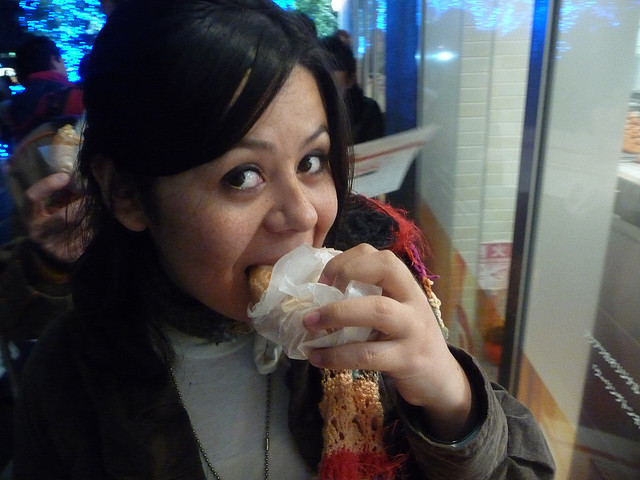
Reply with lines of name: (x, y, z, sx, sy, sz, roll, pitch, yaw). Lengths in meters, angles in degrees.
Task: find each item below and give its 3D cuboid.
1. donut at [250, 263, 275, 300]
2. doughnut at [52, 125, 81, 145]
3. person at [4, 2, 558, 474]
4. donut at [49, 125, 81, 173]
donut: (-0.139, 0.097, 1.283, 0.035, 0.051, 0.099, 30, 46, -28)
doughnut: (-0.633, -0.258, 1.252, 0.073, 0.048, 0.011, 4, 27, 9)
person: (-0.167, 0.051, 1.296, 1.292, 1.195, 0.525, 1, 26, 3)
donut: (-0.639, -0.225, 1.265, 0.076, 0.114, 0.029, 15, 19, 2)
